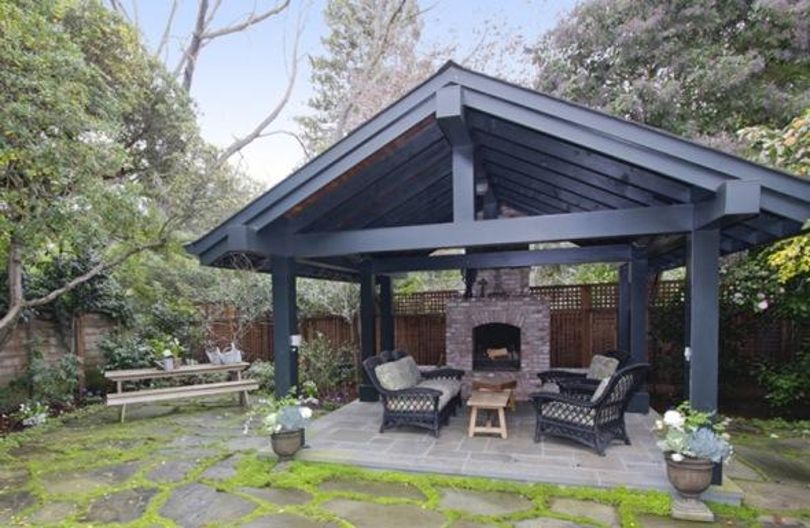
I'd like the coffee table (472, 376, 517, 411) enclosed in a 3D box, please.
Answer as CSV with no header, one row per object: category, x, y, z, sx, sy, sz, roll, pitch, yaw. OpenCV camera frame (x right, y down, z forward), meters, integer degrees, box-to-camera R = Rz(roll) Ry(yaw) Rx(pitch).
coffee table,1.887,2.821,11.795,0.908,0.654,0.735,-1,-6,7

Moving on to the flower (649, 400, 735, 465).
flower,4.473,2.634,8.874,1.063,0.941,0.524,-1,-8,15

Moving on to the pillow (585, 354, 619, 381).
pillow,4.102,2.139,11.789,0.169,0.529,0.559,35,-15,-27

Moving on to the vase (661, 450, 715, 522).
vase,4.378,3.436,8.752,0.660,0.987,0.304,-2,-8,22

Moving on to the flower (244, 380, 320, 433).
flower,-2.377,2.821,11.122,0.863,0.826,1.180,-5,-5,18

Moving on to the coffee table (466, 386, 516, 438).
coffee table,1.634,2.933,11.104,0.974,0.777,0.969,4,4,7

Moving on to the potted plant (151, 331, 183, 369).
potted plant,-5.399,2.016,13.295,0.852,0.851,0.851,-4,-9,40

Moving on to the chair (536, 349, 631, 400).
chair,3.631,2.298,11.728,1.127,1.139,1.067,-4,-6,41

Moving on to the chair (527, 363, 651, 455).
chair,3.346,2.597,10.336,1.979,1.549,0.904,-1,-8,16

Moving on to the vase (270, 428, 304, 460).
vase,-2.060,3.217,10.122,0.533,0.406,0.558,-1,-7,9

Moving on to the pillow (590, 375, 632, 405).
pillow,3.732,2.198,10.112,0.942,0.568,0.415,4,-8,-20
